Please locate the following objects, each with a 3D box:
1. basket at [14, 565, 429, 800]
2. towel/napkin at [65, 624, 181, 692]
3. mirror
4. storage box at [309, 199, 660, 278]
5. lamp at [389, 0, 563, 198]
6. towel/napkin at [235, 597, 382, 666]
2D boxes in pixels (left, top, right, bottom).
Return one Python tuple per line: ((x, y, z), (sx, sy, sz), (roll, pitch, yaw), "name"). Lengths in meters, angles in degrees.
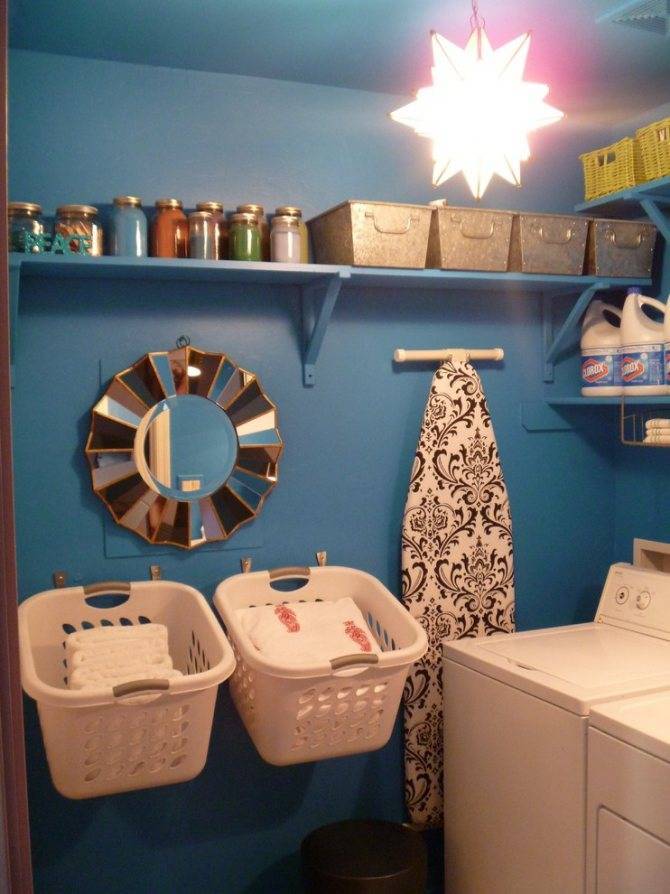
((-0.249, 0.508, 1.804), (0.869, 0.370, 0.572), (-3, 6, -24), "basket")
((-0.457, 0.434, 1.658), (0.180, 0.056, 0.175), (4, 8, -20), "towel/napkin")
((-0.399, -0.004, 1.975), (0.527, 0.539, 0.023), (-2, 4, -28), "mirror")
((0.427, -0.547, 2.194), (0.966, 0.165, 0.253), (-3, 6, -23), "storage box")
((0.247, -0.594, 1.417), (0.296, 0.269, 0.190), (1, 6, 15), "lamp")
((-0.067, 0.437, 1.900), (0.179, 0.027, 0.191), (-1, 17, -20), "towel/napkin")
